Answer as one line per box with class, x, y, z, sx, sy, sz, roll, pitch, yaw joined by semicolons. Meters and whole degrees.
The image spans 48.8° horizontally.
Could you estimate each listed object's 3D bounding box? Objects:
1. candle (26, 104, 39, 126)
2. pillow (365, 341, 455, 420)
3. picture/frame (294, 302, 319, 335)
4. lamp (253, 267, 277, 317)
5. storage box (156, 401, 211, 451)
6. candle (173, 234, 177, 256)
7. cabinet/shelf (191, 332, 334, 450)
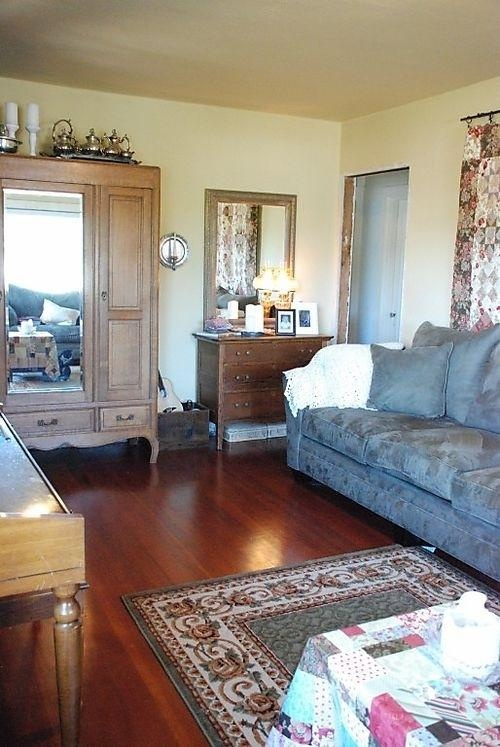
candle;-1.502;-1.782;3.806;0.066;0.169;0.098;-1;7;-31
pillow;0.925;0.036;3.309;0.500;0.450;0.192;2;-10;39
picture/frame;0.509;-0.507;5.164;0.320;0.373;0.016;-2;-1;-35
lamp;0.155;-0.705;5.099;0.228;0.441;0.230;1;4;-8
storage box;-0.525;0.402;4.312;0.319;0.200;0.320;-2;5;-17
candle;-0.647;-1.089;4.695;0.039;0.159;0.012;-2;7;-37
cabinet/shelf;0.318;0.227;4.734;1.098;1.020;0.712;-3;-14;32
